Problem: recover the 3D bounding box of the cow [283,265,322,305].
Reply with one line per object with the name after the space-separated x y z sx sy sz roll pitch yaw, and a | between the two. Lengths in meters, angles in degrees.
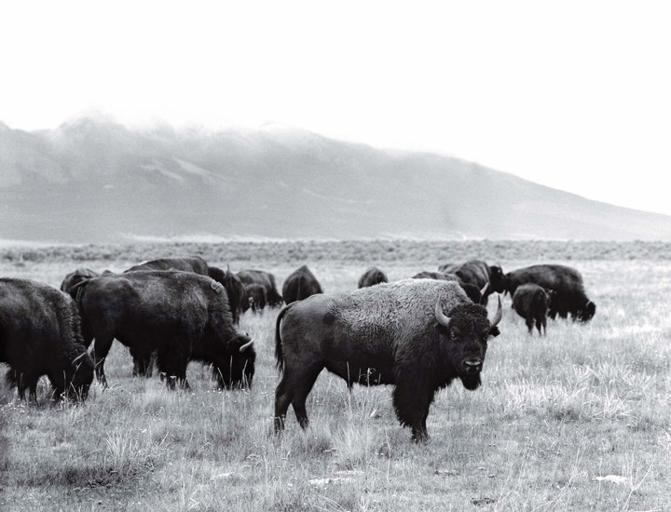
-1.057 0.668 27.333 0.677 1.232 2.075 16 16 -1 | cow
